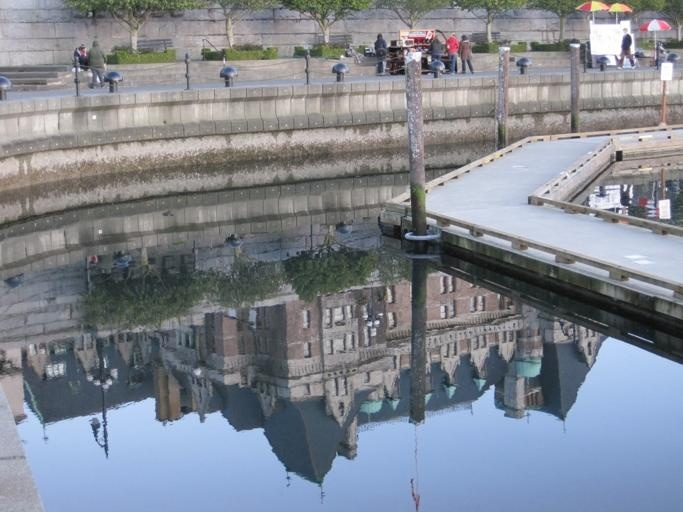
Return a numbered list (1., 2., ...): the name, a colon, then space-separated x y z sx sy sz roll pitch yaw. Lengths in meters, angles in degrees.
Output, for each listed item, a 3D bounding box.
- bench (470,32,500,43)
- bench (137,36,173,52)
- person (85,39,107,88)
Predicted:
1. bench: 8.577 -12.938 84.888 1.783 0.464 3.747 -2 18 5
2. bench: -10.073 -11.126 75.973 1.862 0.570 2.350 0 18 11
3. person: -9.163 -7.007 53.187 0.603 1.572 1.328 -5 15 -10
